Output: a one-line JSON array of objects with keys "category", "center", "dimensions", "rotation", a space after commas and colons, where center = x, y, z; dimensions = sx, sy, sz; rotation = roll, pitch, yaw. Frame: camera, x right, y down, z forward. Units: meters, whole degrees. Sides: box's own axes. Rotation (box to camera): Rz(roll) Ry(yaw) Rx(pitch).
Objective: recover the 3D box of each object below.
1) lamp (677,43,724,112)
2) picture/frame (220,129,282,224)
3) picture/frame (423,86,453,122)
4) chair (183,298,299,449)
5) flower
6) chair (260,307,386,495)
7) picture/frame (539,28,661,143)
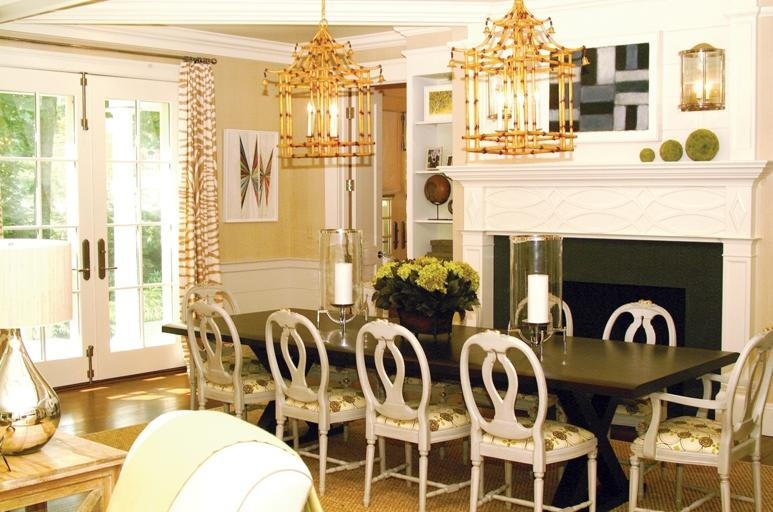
[{"category": "lamp", "center": [2.551, -1.450, 5.035], "dimensions": [0.358, 0.508, 0.381], "rotation": [4, 19, 31]}, {"category": "picture/frame", "center": [-1.602, -0.965, 7.543], "dimensions": [0.039, 1.111, 0.835], "rotation": [10, 13, 35]}, {"category": "picture/frame", "center": [0.546, -1.567, 6.444], "dimensions": [0.395, 0.362, 0.027], "rotation": [-11, 21, -29]}, {"category": "chair", "center": [-1.078, 0.876, 4.824], "dimensions": [0.648, 1.133, 0.735], "rotation": [6, 9, 45]}, {"category": "flower", "center": [0.270, 0.196, 4.415], "dimensions": [0.712, 0.402, 0.715], "rotation": [2, 8, -2]}, {"category": "chair", "center": [-0.434, 0.991, 4.415], "dimensions": [0.810, 1.159, 0.836], "rotation": [2, -3, 14]}, {"category": "picture/frame", "center": [1.873, -1.457, 5.431], "dimensions": [0.930, 0.884, 0.066], "rotation": [9, 32, 34]}]
